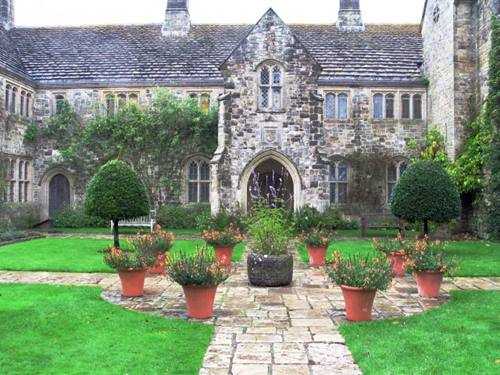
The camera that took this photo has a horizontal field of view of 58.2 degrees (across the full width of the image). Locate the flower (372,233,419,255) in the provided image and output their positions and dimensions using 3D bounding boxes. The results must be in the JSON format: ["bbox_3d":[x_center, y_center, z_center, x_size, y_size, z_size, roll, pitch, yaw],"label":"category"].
[{"bbox_3d":[3.416,1.377,10.775,0.749,0.453,0.797,-3,-3,23],"label":"flower"}]

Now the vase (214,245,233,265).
[{"bbox_3d":[-0.685,1.697,11.720,0.567,0.502,0.608,0,-6,-8],"label":"vase"}]

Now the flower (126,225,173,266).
[{"bbox_3d":[-2.285,1.320,10.561,0.899,0.774,0.911,0,0,-17],"label":"flower"}]

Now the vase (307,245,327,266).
[{"bbox_3d":[1.762,1.777,11.898,0.478,0.425,0.517,1,-7,-1],"label":"vase"}]

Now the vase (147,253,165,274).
[{"bbox_3d":[-2.194,1.877,10.759,0.511,0.452,0.548,-1,1,-6],"label":"vase"}]

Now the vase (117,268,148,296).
[{"bbox_3d":[-2.352,1.874,9.006,0.504,0.446,0.542,1,-4,-7],"label":"vase"}]

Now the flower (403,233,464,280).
[{"bbox_3d":[3.935,1.521,9.538,1.303,0.843,1.375,-2,4,-17],"label":"flower"}]

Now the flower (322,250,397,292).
[{"bbox_3d":[1.959,1.511,8.079,1.195,0.545,0.854,1,6,13],"label":"flower"}]

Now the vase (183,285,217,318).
[{"bbox_3d":[-0.887,1.993,7.933,0.531,0.468,0.566,2,-3,-12],"label":"vase"}]

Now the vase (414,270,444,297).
[{"bbox_3d":[3.593,1.913,9.089,0.498,0.437,0.539,1,-9,2],"label":"vase"}]

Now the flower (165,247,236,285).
[{"bbox_3d":[-1.017,1.470,8.270,0.986,0.574,0.967,-2,6,-22],"label":"flower"}]

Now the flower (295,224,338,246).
[{"bbox_3d":[1.789,1.366,12.289,0.837,0.466,1.156,1,5,9],"label":"flower"}]

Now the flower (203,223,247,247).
[{"bbox_3d":[-0.829,1.314,12.057,0.860,0.452,0.887,3,-4,-27],"label":"flower"}]
